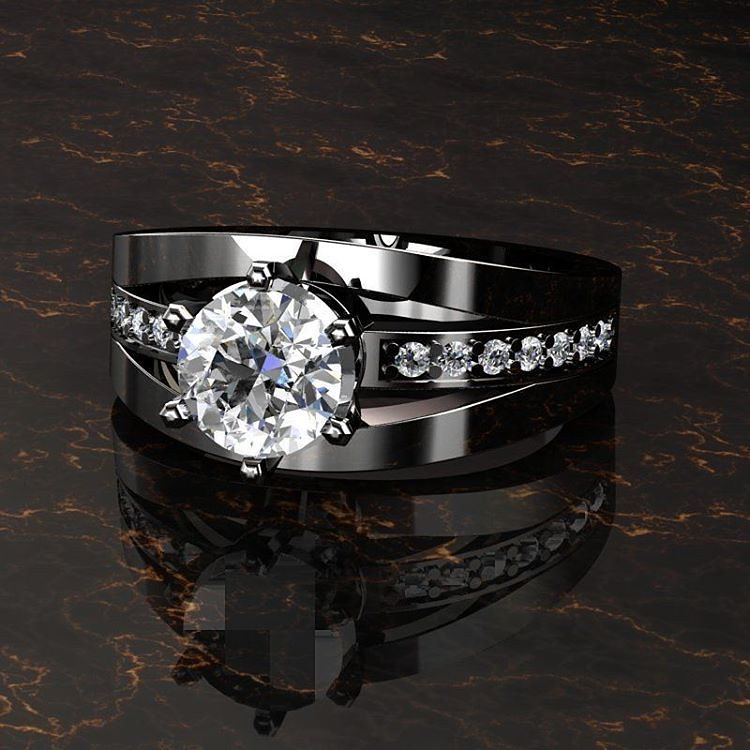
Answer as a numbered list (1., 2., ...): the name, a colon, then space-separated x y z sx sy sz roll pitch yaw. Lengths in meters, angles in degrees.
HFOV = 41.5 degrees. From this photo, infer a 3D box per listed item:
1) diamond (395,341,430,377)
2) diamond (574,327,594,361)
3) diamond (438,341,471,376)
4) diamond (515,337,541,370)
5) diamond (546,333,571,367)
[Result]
1. diamond: 0.062 -0.025 1.589 0.078 0.018 0.048 6 98 -9
2. diamond: 0.365 -0.056 1.750 0.031 0.048 0.052 17 89 2
3. diamond: 0.128 -0.027 1.609 0.079 0.022 0.049 7 98 -14
4. diamond: 0.259 -0.036 1.665 0.028 0.066 0.047 9 96 35
5. diamond: 0.316 -0.044 1.715 0.025 0.061 0.052 25 101 21
